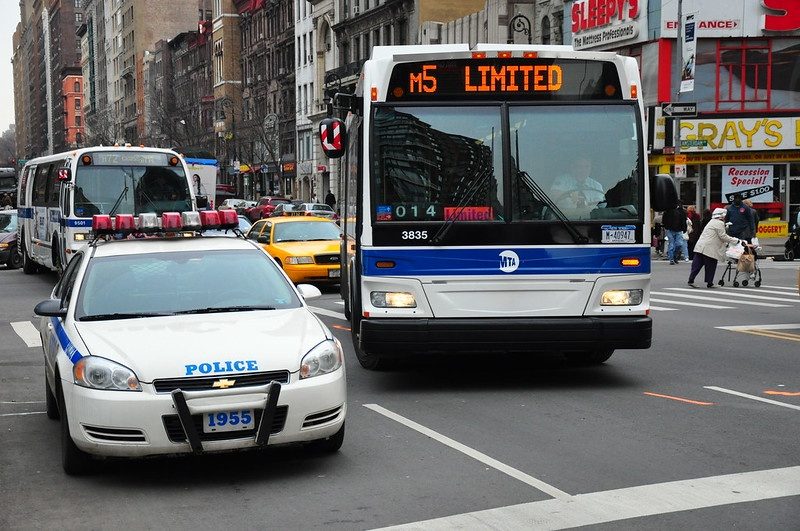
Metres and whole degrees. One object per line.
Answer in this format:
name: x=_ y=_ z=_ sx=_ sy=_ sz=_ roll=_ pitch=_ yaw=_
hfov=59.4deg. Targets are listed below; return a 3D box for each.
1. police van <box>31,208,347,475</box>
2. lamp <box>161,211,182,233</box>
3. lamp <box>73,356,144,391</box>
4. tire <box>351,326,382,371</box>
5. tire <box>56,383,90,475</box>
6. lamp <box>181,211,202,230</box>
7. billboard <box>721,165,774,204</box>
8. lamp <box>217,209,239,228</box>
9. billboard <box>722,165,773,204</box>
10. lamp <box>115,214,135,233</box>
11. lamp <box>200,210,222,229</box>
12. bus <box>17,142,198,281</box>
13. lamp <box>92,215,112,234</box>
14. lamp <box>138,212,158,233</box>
police van: x=-2.204 y=0.582 z=7.064 sx=1.804 sy=1.443 sz=3.188 roll=-2 pitch=2 yaw=-22
lamp: x=-2.747 y=-0.515 z=8.455 sx=0.202 sy=0.208 sz=0.293 roll=-4 pitch=11 yaw=-14
lamp: x=-2.399 y=0.912 z=5.748 sx=0.417 sy=0.172 sz=0.302 roll=9 pitch=3 yaw=6
tire: x=-0.425 y=1.121 z=9.408 sx=0.254 sy=0.743 sz=0.727 roll=1 pitch=4 yaw=-6
tire: x=-2.748 y=1.383 z=5.935 sx=0.201 sy=0.632 sz=0.626 roll=-5 pitch=32 yaw=-15
lamp: x=-2.566 y=-0.543 z=8.604 sx=0.219 sy=0.199 sz=0.221 roll=4 pitch=7 yaw=39
billboard: x=17.508 y=-4.143 z=35.368 sx=3.148 sy=2.311 sz=0.431 roll=0 pitch=3 yaw=6
lamp: x=-2.198 y=-0.594 z=8.974 sx=0.216 sy=0.258 sz=0.292 roll=-3 pitch=8 yaw=13
billboard: x=18.294 y=-4.208 z=36.729 sx=2.879 sy=2.083 sz=0.281 roll=-5 pitch=11 yaw=-12
lamp: x=-3.255 y=-0.499 z=8.366 sx=0.214 sy=0.200 sz=0.220 roll=-3 pitch=8 yaw=-17
lamp: x=-2.390 y=-0.575 z=8.844 sx=0.203 sy=0.194 sz=0.270 roll=-3 pitch=7 yaw=-13
bus: x=-10.673 y=-1.707 z=24.057 sx=3.454 sy=3.846 sz=10.605 roll=-2 pitch=5 yaw=-35
lamp: x=-3.543 y=-0.485 z=8.384 sx=0.203 sy=0.194 sz=0.279 roll=-2 pitch=8 yaw=-16
lamp: x=-3.008 y=-0.502 z=8.410 sx=0.194 sy=0.251 sz=0.341 roll=-2 pitch=5 yaw=-15
